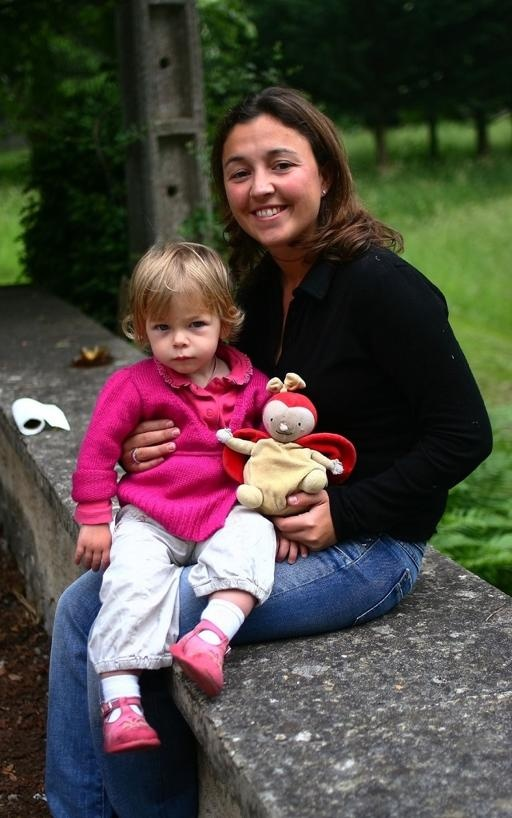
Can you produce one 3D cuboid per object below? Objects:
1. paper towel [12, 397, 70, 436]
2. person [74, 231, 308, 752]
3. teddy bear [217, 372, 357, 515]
[{"bbox_3d":[-0.893,0.034,3.133,0.201,0.094,0.199,-12,21,-35],"label":"paper towel"},{"bbox_3d":[-0.172,0.148,1.671,0.498,0.924,0.779,1,16,-2],"label":"person"},{"bbox_3d":[0.069,0.084,1.716,0.283,0.329,0.200,-8,15,-33],"label":"teddy bear"}]
